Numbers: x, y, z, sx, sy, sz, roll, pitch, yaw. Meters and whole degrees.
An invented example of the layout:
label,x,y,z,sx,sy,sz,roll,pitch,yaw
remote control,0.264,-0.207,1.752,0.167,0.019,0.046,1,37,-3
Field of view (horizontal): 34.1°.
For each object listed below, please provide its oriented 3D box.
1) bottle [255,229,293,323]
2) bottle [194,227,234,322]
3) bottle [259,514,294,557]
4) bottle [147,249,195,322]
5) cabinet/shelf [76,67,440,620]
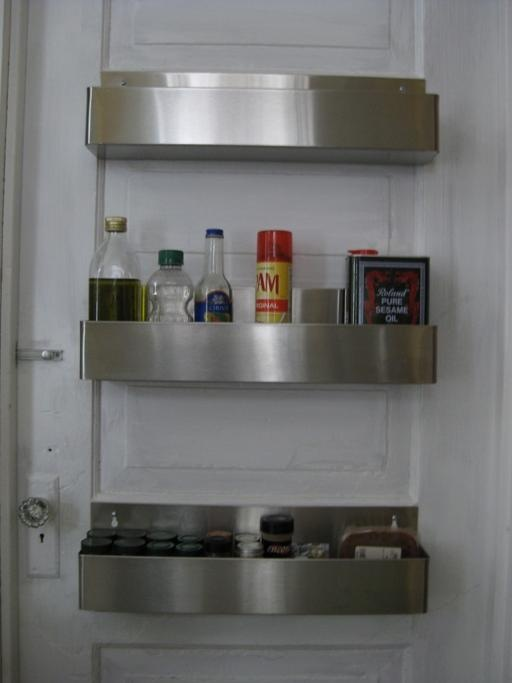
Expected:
label,x,y,z,sx,sy,sz,roll,pitch,yaw
bottle,0.022,-0.091,1.135,0.050,0.109,0.070,-1,0,0
bottle,-0.062,-0.091,1.129,0.045,0.107,0.046,-1,0,0
bottle,0.029,0.269,1.151,0.044,0.051,0.045,-4,-7,32
bottle,-0.118,-0.077,1.133,0.066,0.079,0.059,-1,0,-9
cabinet/shelf,0.003,-0.001,1.159,0.475,0.736,0.197,0,6,0
